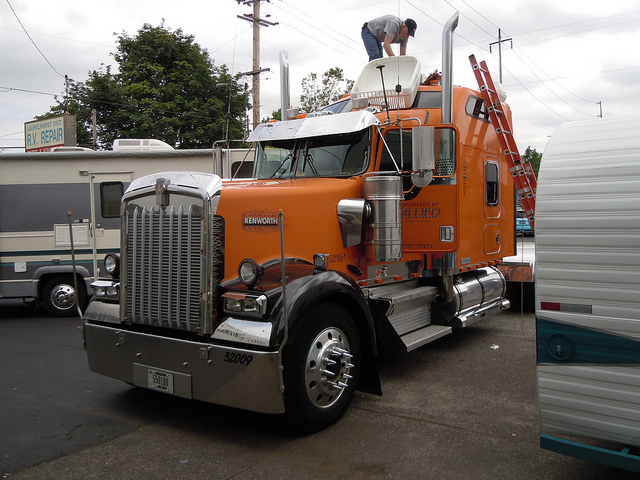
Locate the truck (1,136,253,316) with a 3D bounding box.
[{"bbox_3d":[-4.853,-0.327,11.152,6.550,3.726,3.269,1,-1,-12],"label":"truck"}]

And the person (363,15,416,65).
[{"bbox_3d":[1.214,-3.379,9.076,0.900,1.034,0.725,5,8,31],"label":"person"}]

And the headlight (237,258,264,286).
[{"bbox_3d":[-0.682,0.317,5.100,0.259,0.253,0.166,-1,5,-3],"label":"headlight"}]

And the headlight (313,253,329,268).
[{"bbox_3d":[0.019,0.218,5.599,0.149,0.149,0.128,-1,3,-3],"label":"headlight"}]

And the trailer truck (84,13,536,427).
[{"bbox_3d":[0.467,0.203,8.183,3.388,4.671,7.182,-3,-4,42],"label":"trailer truck"}]
